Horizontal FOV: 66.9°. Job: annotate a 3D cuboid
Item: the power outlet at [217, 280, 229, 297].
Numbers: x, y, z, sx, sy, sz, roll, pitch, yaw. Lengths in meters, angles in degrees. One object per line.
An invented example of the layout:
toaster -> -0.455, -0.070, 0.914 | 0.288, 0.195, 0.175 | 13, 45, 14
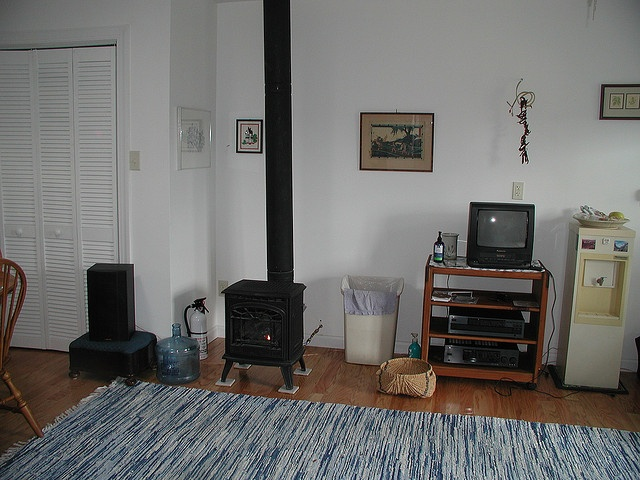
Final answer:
power outlet -> -0.825, 0.406, 4.175 | 0.145, 0.182, 0.019 | 1, -1, 7

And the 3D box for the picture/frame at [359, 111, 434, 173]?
picture/frame -> 0.666, -0.832, 4.026 | 0.488, 0.399, 0.022 | 1, 7, 8

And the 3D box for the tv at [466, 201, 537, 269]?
tv -> 1.323, -0.037, 3.721 | 0.510, 0.566, 0.462 | 2, 3, 14

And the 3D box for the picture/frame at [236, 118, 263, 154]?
picture/frame -> -0.608, -0.930, 4.270 | 0.284, 0.349, 0.027 | 1, 6, 6

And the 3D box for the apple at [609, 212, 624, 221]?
apple -> 2.149, -0.156, 3.518 | 0.082, 0.082, 0.085 | -1, 0, 35

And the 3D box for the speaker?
speaker -> -1.601, 0.479, 3.747 | 0.343, 0.564, 0.284 | -4, 9, -22

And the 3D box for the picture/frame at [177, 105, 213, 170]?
picture/frame -> -1.041, -0.856, 4.016 | 0.051, 0.498, 0.520 | 4, 12, 22

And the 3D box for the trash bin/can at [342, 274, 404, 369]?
trash bin/can -> 0.440, 0.631, 4.171 | 0.696, 0.867, 0.622 | 1, 1, 16

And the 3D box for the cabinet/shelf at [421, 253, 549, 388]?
cabinet/shelf -> 1.273, 0.632, 3.683 | 0.894, 0.920, 0.498 | 2, 4, 11

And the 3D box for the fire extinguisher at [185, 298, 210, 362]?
fire extinguisher -> -1.010, 0.737, 4.083 | 0.199, 0.509, 0.205 | 5, 10, 33
